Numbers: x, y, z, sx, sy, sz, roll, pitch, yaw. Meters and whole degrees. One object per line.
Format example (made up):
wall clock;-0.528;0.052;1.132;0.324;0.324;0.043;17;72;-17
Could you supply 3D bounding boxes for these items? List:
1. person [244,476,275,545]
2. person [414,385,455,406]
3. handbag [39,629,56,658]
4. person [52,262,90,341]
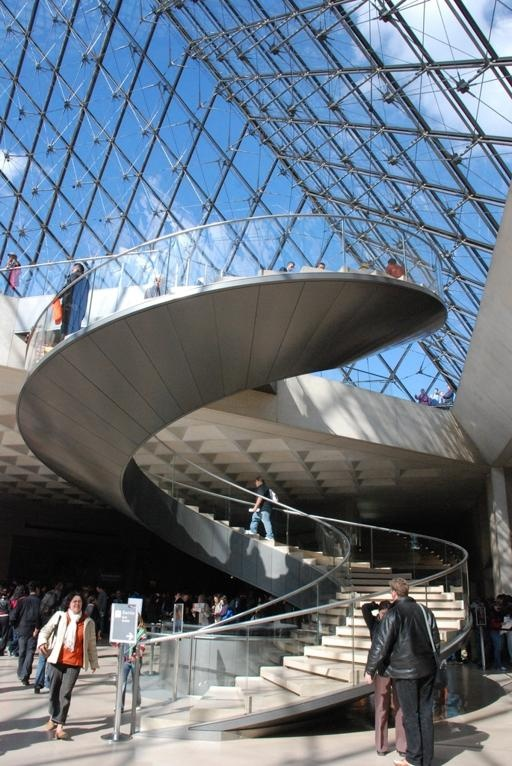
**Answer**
person;0.099;3.183;13.416;0.673;1.620;0.999;-3;-12;-5
person;7.457;0.526;22.699;1.308;0.489;1.487;5;-25;-4
handbag;-1.984;2.459;5.091;0.099;0.257;0.195;22;-45;-26
person;-3.058;-1.234;8.789;0.427;1.329;1.463;2;-14;-27
